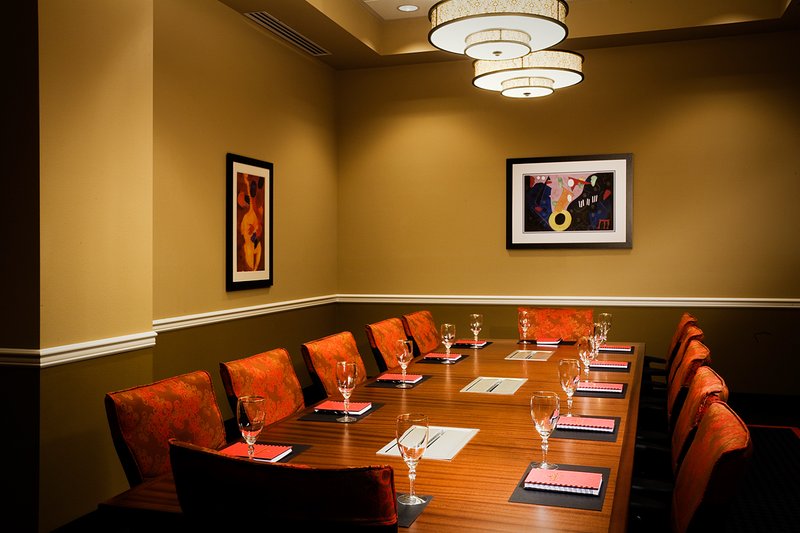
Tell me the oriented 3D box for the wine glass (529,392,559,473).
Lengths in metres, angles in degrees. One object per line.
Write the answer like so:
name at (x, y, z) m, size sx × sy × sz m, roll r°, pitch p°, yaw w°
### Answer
wine glass at (0.586, 0.642, 2.308) m, size 0.099 × 0.304 × 0.293 m, roll 1°, pitch 4°, yaw 12°

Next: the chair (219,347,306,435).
chair at (-0.753, 0.667, 3.138) m, size 0.396 × 0.561 × 0.368 m, roll -7°, pitch -5°, yaw 40°

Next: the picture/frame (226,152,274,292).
picture/frame at (-1.469, -0.425, 5.463) m, size 0.070 × 1.289 × 0.707 m, roll 1°, pitch 5°, yaw 22°

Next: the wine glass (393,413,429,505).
wine glass at (0.041, 0.664, 2.028) m, size 0.101 × 0.337 × 0.295 m, roll 0°, pitch 4°, yaw 2°

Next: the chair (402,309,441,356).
chair at (0.229, 0.659, 4.823) m, size 0.266 × 0.502 × 0.285 m, roll -3°, pitch -10°, yaw -33°
